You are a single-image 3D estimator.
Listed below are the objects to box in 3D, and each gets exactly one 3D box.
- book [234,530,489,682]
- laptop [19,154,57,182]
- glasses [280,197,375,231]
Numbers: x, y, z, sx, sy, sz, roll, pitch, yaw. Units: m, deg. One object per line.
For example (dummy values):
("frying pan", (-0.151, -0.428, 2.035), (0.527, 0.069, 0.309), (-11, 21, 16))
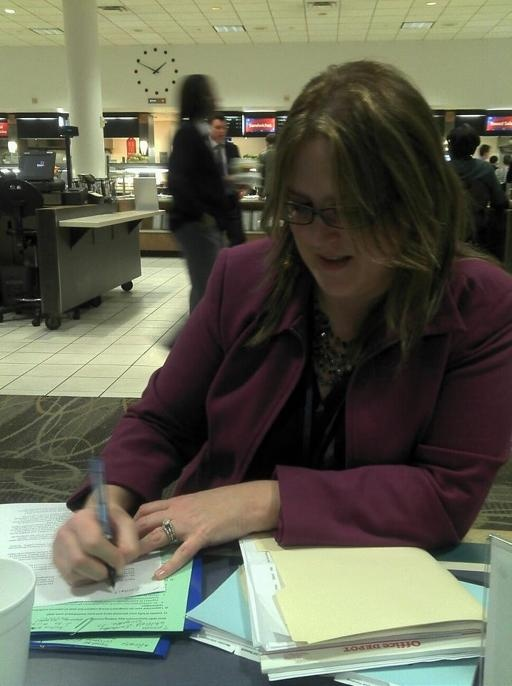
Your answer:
("book", (0.096, 0.270, 0.542), (0.156, 0.034, 0.151), (1, 3, -10))
("laptop", (-2.519, -2.052, 6.142), (0.407, 0.384, 0.589), (-6, 13, -21))
("glasses", (0.101, -0.186, 0.760), (0.134, 0.048, 0.036), (9, 16, 39))
